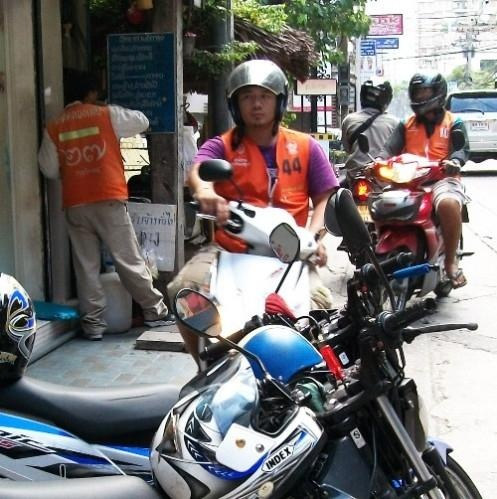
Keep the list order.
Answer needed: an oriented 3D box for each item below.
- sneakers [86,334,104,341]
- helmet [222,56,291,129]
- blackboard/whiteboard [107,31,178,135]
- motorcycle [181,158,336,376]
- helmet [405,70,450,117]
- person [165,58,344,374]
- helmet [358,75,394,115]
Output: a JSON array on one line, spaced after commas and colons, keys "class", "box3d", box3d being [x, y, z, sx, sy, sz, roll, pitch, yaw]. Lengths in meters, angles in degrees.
[{"class": "sneakers", "box3d": [-1.237, 0.698, 5.218, 0.129, 0.060, 0.051, 4, -1, 16]}, {"class": "helmet", "box3d": [0.031, -0.624, 2.654, 0.228, 0.261, 0.289, -4, -3, 0]}, {"class": "blackboard/whiteboard", "box3d": [-0.889, -1.437, 5.563, 0.838, 1.259, 0.061, 3, 9, 20]}, {"class": "motorcycle", "box3d": [0.017, 0.035, 2.572, 0.528, 0.625, 0.893, 9, 0, -4]}, {"class": "helmet", "box3d": [1.579, -1.383, 5.725, 0.374, 0.412, 0.308, -10, 10, -43]}, {"class": "person", "box3d": [0.045, -0.084, 2.832, 0.593, 1.524, 1.472, 1, 22, 0]}, {"class": "helmet", "box3d": [1.462, -1.835, 7.630, 0.326, 0.437, 0.434, 8, 10, 7]}]
